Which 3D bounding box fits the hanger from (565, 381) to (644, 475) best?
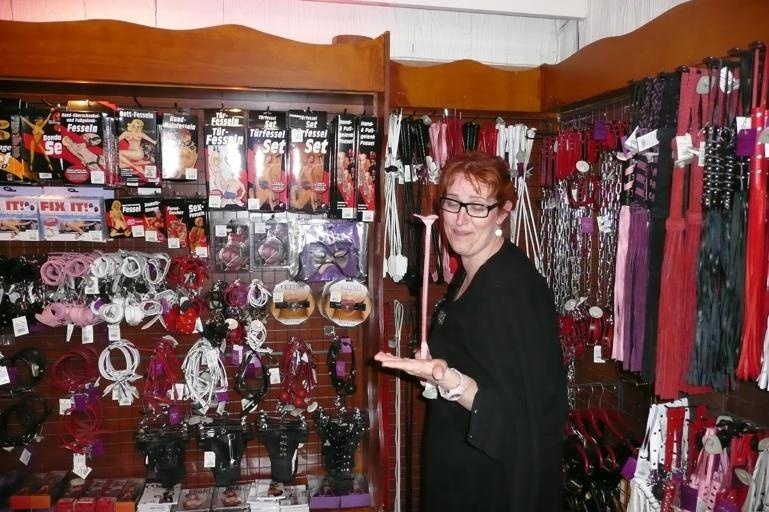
[{"bbox_3d":[1.574,1.224,4.449,0.444,0.212,0.649,-9,35,17],"label":"hanger"}]
